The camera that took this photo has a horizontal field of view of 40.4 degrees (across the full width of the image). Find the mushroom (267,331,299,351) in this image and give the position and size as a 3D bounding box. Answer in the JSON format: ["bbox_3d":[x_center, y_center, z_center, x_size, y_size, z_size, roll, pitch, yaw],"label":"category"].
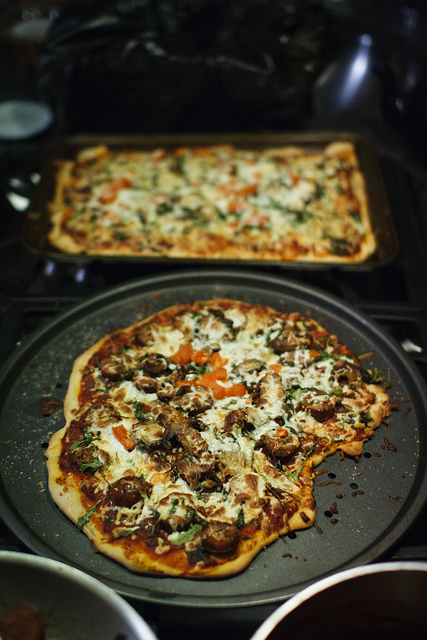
[{"bbox_3d":[0.222,0.065,1.805,0.068,0.025,0.052,-8,10,26],"label":"mushroom"}]

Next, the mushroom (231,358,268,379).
[{"bbox_3d":[0.107,0.140,1.746,0.083,0.020,0.047,0,36,5],"label":"mushroom"}]

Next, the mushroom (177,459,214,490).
[{"bbox_3d":[-0.049,0.368,1.434,0.070,0.030,0.077,-34,62,-20],"label":"mushroom"}]

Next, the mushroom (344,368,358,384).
[{"bbox_3d":[0.409,0.166,1.716,0.028,0.010,0.035,-3,56,0],"label":"mushroom"}]

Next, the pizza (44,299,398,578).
[{"bbox_3d":[-0.009,0.252,1.638,0.821,0.115,1.010,27,44,20],"label":"pizza"}]

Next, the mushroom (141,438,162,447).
[{"bbox_3d":[-0.162,0.319,1.513,0.055,0.014,0.022,8,57,6],"label":"mushroom"}]

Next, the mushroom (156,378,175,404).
[{"bbox_3d":[-0.136,0.203,1.690,0.043,0.018,0.054,-1,44,-4],"label":"mushroom"}]

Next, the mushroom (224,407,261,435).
[{"bbox_3d":[0.071,0.263,1.554,0.076,0.023,0.060,-26,41,-34],"label":"mushroom"}]

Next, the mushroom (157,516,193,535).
[{"bbox_3d":[-0.091,0.482,1.355,0.050,0.018,0.050,-1,10,-2],"label":"mushroom"}]

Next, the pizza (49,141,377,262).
[{"bbox_3d":[-0.029,-0.532,2.399,1.358,0.100,0.751,4,56,3],"label":"pizza"}]

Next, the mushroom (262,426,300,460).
[{"bbox_3d":[0.178,0.316,1.531,0.095,0.070,0.111,7,57,6],"label":"mushroom"}]

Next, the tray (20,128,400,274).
[{"bbox_3d":[0.005,-0.488,2.481,1.491,0.157,0.798,1,60,3],"label":"tray"}]

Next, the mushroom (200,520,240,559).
[{"bbox_3d":[0.014,0.503,1.319,0.120,0.033,0.147,2,19,-2],"label":"mushroom"}]
